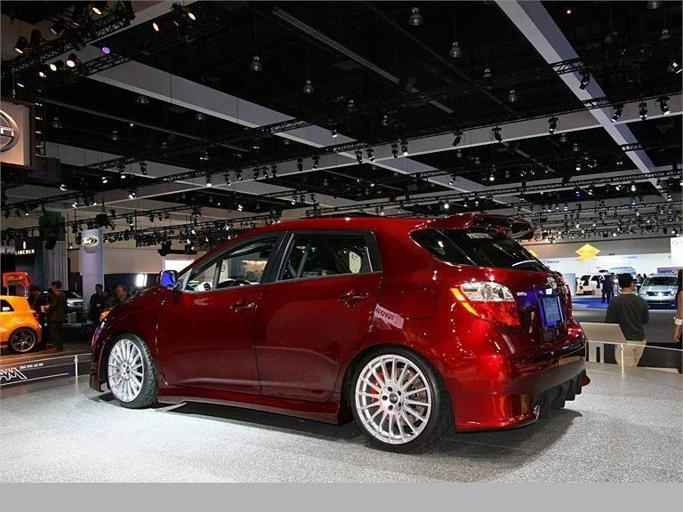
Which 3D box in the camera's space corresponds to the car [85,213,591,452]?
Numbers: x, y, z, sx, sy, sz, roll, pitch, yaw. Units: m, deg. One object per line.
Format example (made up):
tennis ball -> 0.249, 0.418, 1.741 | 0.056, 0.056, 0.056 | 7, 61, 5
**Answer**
car -> -0.048, 0.606, 3.946 | 3.787, 1.304, 2.031 | 1, -2, 28
